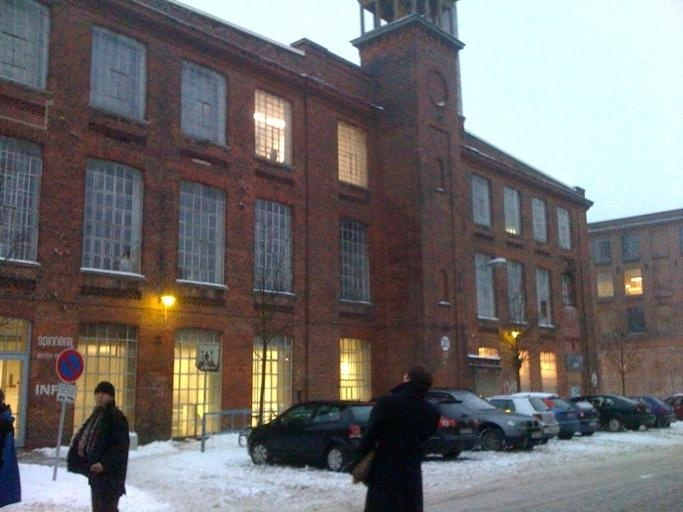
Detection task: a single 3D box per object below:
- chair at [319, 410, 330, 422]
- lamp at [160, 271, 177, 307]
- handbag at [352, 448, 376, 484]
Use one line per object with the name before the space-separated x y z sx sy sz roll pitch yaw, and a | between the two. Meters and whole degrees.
chair | -0.450 4.243 16.535 0.457 0.196 0.124 -15 -20 34
lamp | -6.439 1.315 23.669 0.509 1.303 0.729 -17 -21 41
handbag | 0.237 2.632 7.822 0.126 0.366 0.235 10 -26 35
